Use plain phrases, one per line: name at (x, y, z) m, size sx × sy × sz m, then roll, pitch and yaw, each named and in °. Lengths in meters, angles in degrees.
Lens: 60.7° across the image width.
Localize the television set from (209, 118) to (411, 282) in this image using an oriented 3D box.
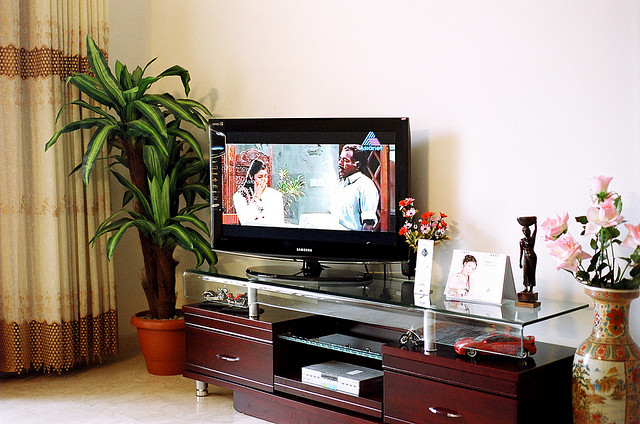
television set at (-0.023, -0.115, 3.648) m, size 1.174 × 0.819 × 0.317 m, roll 1°, pitch 0°, yaw 21°

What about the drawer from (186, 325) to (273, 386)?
drawer at (-0.583, 0.951, 3.599) m, size 0.521 × 0.226 × 0.319 m, roll 3°, pitch -1°, yaw 35°

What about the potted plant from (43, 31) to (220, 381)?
potted plant at (-1.395, 0.034, 4.151) m, size 1.174 × 2.433 × 1.193 m, roll 0°, pitch 6°, yaw 26°

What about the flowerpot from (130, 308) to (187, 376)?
flowerpot at (-1.196, 0.984, 4.258) m, size 0.479 × 0.365 × 0.469 m, roll 0°, pitch -1°, yaw 2°
